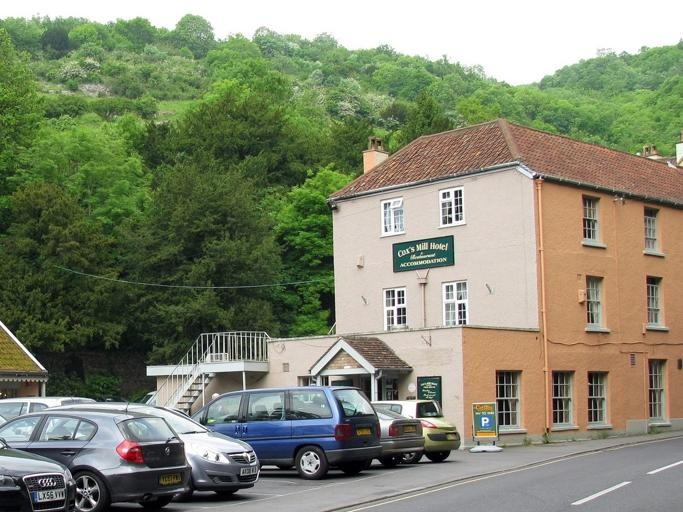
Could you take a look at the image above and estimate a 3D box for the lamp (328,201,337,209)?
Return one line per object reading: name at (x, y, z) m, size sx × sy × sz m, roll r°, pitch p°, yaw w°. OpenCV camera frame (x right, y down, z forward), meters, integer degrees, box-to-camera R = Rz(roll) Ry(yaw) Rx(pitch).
lamp at (-0.427, -2.606, 62.358) m, size 0.453 × 0.354 × 0.440 m, roll 9°, pitch 1°, yaw 21°
